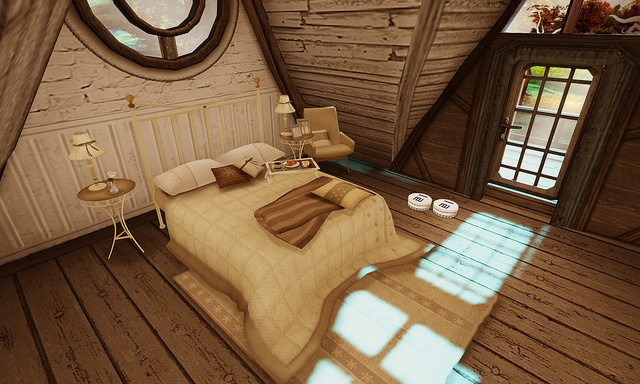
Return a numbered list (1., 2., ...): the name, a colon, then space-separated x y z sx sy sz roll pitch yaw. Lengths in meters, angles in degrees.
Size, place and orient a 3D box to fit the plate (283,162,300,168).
1. plate: -0.439 -0.419 4.935 0.229 0.065 0.156 -19 36 -34
